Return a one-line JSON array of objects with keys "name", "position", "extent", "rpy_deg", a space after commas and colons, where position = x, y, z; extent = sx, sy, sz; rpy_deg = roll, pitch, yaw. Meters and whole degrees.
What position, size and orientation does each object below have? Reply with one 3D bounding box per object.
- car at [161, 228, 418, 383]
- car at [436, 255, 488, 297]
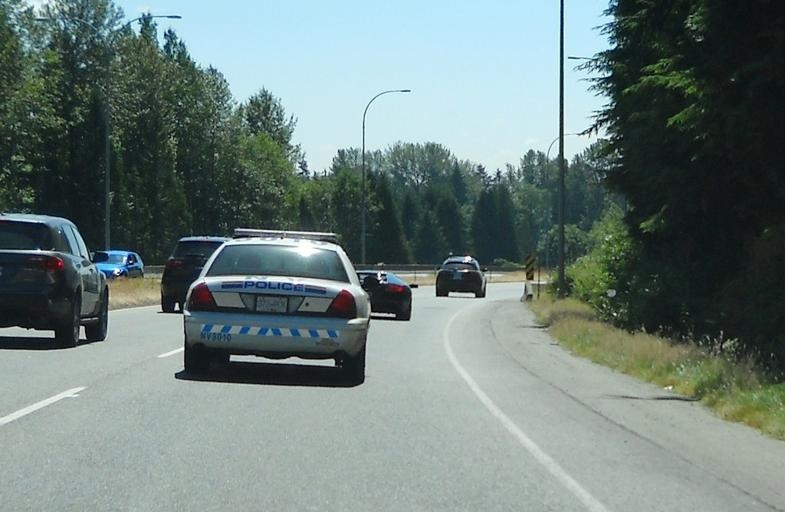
[{"name": "car", "position": [-2.153, 0.984, 15.721], "extent": [3.221, 2.552, 2.526], "rpy_deg": [1, 4, -16]}, {"name": "car", "position": [3.583, 1.131, 44.715], "extent": [2.419, 2.169, 2.173], "rpy_deg": [2, 4, 1]}]
